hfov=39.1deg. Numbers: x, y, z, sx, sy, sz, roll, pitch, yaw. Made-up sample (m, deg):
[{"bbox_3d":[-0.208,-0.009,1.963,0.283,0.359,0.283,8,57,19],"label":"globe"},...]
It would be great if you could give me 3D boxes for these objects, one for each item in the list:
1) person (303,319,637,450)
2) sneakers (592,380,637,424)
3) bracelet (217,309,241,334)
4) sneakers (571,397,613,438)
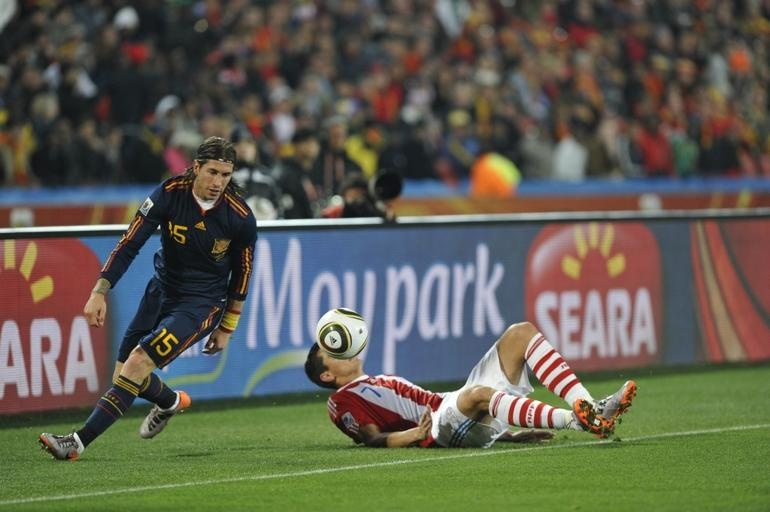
[{"bbox_3d":[0.698,1.212,8.950,2.035,0.790,1.241,-6,-8,23],"label":"person"},{"bbox_3d":[1.989,1.246,9.204,0.214,0.469,0.166,39,11,20],"label":"sneakers"},{"bbox_3d":[-1.371,0.552,9.543,0.184,0.207,0.167,14,8,-3],"label":"bracelet"},{"bbox_3d":[1.639,1.288,8.539,0.348,0.220,0.156,39,-16,-7],"label":"sneakers"}]
